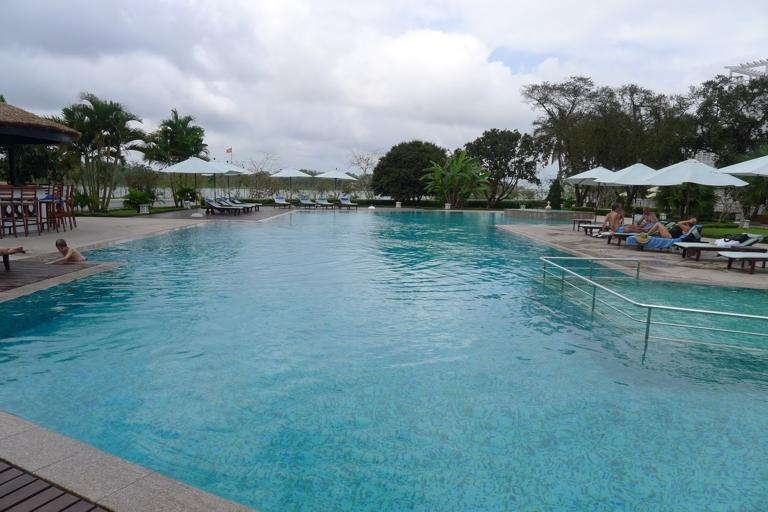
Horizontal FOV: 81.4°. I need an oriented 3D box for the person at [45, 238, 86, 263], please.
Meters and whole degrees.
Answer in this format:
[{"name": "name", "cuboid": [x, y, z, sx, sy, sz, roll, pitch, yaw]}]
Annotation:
[{"name": "person", "cuboid": [-9.549, -0.150, 13.378, 0.982, 0.906, 0.578, -6, 16, -26]}]
